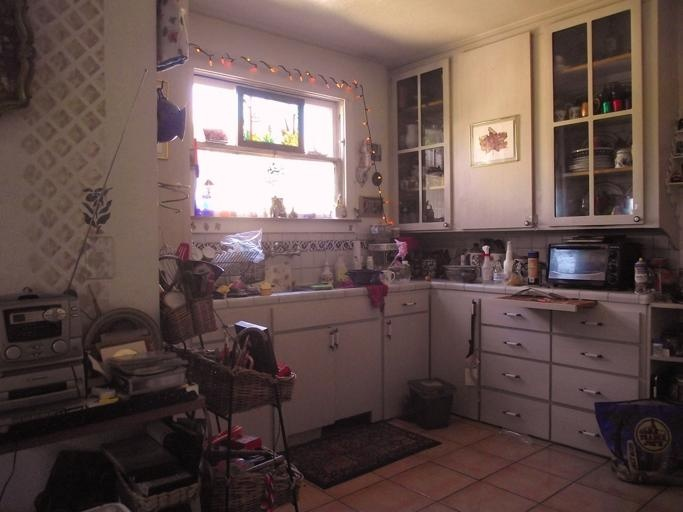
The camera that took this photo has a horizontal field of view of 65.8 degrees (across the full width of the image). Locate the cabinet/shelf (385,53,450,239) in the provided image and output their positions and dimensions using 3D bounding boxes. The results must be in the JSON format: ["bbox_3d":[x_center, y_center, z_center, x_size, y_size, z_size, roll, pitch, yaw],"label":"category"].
[{"bbox_3d":[0.703,-0.946,4.649,0.194,1.418,0.686,-6,8,-35],"label":"cabinet/shelf"}]

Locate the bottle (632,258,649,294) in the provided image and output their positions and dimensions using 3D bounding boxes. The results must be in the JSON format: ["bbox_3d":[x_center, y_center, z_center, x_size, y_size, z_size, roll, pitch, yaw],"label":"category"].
[{"bbox_3d":[1.971,0.131,3.452,0.085,0.199,0.126,2,8,29],"label":"bottle"}]

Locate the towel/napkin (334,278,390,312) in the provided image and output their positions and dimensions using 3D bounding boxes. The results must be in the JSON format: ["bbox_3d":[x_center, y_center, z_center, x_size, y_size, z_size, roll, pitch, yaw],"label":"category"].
[{"bbox_3d":[0.159,0.314,4.091,0.306,0.176,0.229,2,-2,37],"label":"towel/napkin"}]

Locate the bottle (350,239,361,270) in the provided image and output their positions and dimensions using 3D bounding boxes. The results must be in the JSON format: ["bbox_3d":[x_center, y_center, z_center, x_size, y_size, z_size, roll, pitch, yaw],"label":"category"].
[{"bbox_3d":[0.137,-0.016,4.644,0.093,0.237,0.180,-1,7,2],"label":"bottle"}]

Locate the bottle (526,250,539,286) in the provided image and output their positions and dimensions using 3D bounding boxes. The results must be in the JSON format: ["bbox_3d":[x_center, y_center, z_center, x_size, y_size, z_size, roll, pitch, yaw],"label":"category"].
[{"bbox_3d":[1.462,0.094,4.006,0.086,0.235,0.075,0,7,8],"label":"bottle"}]

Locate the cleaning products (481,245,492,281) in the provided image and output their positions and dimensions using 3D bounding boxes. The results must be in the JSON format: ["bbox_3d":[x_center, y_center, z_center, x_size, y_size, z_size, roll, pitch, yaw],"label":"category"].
[{"bbox_3d":[1.173,0.060,4.250,0.088,0.272,0.236,1,7,17],"label":"cleaning products"}]

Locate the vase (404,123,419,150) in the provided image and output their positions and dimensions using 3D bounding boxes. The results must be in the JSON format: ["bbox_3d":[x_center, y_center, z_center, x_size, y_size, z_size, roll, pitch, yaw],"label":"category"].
[{"bbox_3d":[0.630,-1.064,4.730,0.181,0.216,0.147,-5,6,-44],"label":"vase"}]

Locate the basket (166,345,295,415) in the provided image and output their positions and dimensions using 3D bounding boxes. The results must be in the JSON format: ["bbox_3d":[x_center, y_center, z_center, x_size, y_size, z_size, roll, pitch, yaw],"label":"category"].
[{"bbox_3d":[-0.517,0.517,2.416,0.298,0.169,0.439,2,-4,-34],"label":"basket"}]

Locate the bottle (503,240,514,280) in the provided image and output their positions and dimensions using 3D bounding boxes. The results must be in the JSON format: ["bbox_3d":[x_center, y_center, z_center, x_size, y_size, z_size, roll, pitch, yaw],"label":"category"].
[{"bbox_3d":[1.301,0.037,4.118,0.071,0.271,0.298,1,7,17],"label":"bottle"}]

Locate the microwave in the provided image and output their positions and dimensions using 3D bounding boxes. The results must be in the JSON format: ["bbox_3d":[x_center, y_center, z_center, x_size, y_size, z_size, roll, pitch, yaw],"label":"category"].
[{"bbox_3d":[1.732,0.049,3.769,0.449,0.296,0.338,2,8,26],"label":"microwave"}]

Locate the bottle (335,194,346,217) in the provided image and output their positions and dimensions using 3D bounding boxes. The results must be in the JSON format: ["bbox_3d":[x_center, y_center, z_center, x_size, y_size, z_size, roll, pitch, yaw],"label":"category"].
[{"bbox_3d":[-0.023,-0.421,4.546,0.091,0.207,0.119,5,9,41],"label":"bottle"}]

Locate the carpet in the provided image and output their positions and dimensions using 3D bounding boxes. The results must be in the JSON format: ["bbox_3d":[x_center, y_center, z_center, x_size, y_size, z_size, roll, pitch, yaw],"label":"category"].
[{"bbox_3d":[0.112,1.316,3.659,0.993,0.032,0.623,-6,9,-33],"label":"carpet"}]

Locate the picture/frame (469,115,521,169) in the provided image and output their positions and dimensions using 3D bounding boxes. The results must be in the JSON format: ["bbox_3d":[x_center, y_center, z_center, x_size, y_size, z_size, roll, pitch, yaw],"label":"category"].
[{"bbox_3d":[1.226,-0.892,4.150,0.045,0.397,0.437,-4,6,-44],"label":"picture/frame"}]

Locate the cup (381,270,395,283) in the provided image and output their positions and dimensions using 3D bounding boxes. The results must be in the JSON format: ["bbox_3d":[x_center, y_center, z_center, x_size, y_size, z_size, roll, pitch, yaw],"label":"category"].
[{"bbox_3d":[0.382,0.175,4.352,0.116,0.108,0.070,9,-14,-43],"label":"cup"}]

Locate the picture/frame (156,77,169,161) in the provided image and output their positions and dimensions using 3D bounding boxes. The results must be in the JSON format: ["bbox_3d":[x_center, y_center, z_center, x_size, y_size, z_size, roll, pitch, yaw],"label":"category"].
[{"bbox_3d":[-1.163,-0.873,3.416,0.068,0.510,0.186,-3,7,-15],"label":"picture/frame"}]

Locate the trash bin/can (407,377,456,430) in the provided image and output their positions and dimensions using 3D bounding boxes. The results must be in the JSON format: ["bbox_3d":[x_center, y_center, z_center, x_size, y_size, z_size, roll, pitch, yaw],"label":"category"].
[{"bbox_3d":[0.680,1.096,4.044,0.347,0.265,0.299,0,-2,-26],"label":"trash bin/can"}]

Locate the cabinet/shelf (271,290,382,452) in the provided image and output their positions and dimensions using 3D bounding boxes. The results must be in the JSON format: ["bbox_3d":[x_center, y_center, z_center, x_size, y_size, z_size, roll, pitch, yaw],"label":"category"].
[{"bbox_3d":[-0.200,0.769,3.908,0.414,1.014,1.084,-4,-4,45],"label":"cabinet/shelf"}]

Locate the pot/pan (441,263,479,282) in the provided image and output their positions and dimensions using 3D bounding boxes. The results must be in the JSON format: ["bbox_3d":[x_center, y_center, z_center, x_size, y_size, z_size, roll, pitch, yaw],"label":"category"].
[{"bbox_3d":[1.004,0.143,4.324,0.283,0.129,0.201,-1,7,2],"label":"pot/pan"}]

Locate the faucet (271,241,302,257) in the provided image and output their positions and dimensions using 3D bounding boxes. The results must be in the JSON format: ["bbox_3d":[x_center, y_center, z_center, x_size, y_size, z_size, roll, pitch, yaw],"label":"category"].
[{"bbox_3d":[-0.433,-0.049,4.171,0.308,0.130,0.085,-7,9,-35],"label":"faucet"}]

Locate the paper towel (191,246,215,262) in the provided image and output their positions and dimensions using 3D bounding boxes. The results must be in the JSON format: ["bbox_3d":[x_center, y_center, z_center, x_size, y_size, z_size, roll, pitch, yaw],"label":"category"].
[{"bbox_3d":[-0.979,-0.031,3.704,0.176,0.122,0.042,6,-28,-8],"label":"paper towel"}]

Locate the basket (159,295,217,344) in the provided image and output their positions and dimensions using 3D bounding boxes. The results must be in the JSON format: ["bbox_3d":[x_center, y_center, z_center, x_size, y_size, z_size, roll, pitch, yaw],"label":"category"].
[{"bbox_3d":[-0.713,0.266,2.571,0.165,0.216,0.223,-13,8,-30],"label":"basket"}]

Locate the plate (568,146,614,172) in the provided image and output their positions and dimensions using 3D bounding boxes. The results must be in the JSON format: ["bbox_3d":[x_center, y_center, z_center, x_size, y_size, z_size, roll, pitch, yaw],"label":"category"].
[{"bbox_3d":[1.754,-0.653,3.710,0.176,0.077,0.181,-2,-1,43],"label":"plate"}]
